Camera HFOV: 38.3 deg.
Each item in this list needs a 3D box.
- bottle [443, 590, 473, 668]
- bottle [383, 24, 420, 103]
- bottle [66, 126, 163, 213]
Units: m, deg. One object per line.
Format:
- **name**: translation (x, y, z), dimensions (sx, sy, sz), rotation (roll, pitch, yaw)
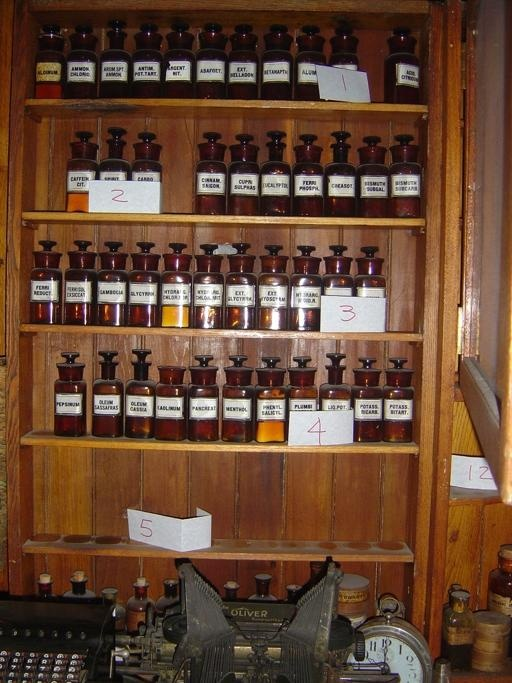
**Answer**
- **bottle**: translation (0.479, 0.688, 1.759), dimensions (0.080, 0.158, 0.080), rotation (4, -3, 0)
- **bottle**: translation (0.370, -0.689, 1.862), dimensions (0.090, 0.220, 0.089), rotation (0, -7, 0)
- **bottle**: translation (-0.345, -0.414, 1.803), dimensions (0.226, 0.224, 0.111), rotation (1, -7, -10)
